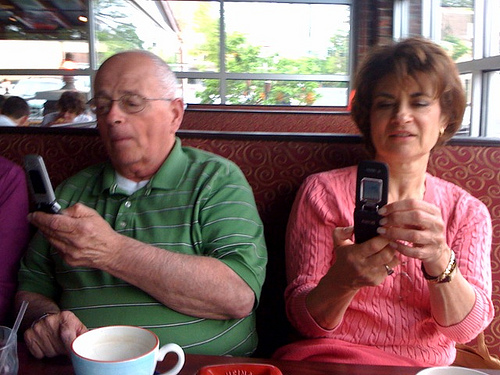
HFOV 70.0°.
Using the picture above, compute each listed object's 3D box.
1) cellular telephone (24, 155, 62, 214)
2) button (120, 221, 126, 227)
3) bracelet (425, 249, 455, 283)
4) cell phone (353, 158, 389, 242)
[{"bbox_3d":[-0.495,-0.002,0.863,0.060,0.163,0.209,-5,10,-28],"label":"cellular telephone"},{"bbox_3d":[-0.411,0.119,1.164,0.016,0.014,0.005,2,-27,-7],"label":"button"},{"bbox_3d":[0.562,0.232,1.059,0.075,0.088,0.034,26,24,17],"label":"bracelet"},{"bbox_3d":[0.301,0.038,0.901,0.073,0.219,0.140,3,9,16],"label":"cell phone"}]
